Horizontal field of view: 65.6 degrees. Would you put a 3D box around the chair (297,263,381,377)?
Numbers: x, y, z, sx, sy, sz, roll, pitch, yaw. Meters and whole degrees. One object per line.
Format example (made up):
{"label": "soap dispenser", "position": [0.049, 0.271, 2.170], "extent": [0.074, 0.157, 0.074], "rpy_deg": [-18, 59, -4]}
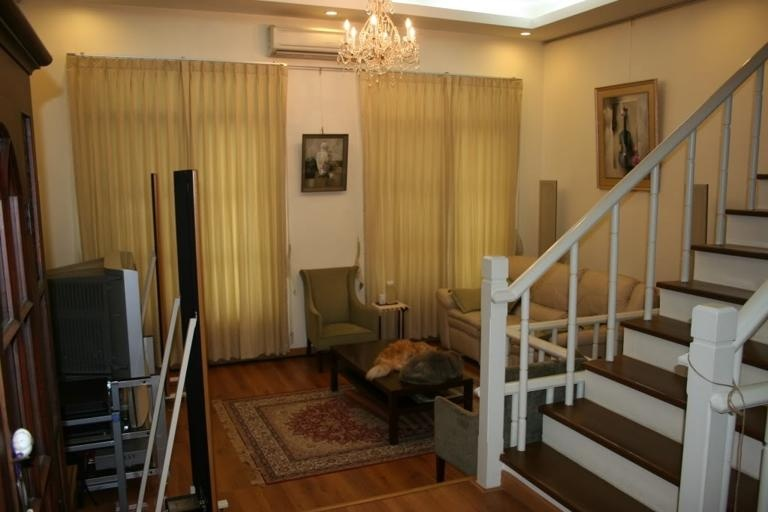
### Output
{"label": "chair", "position": [-0.605, 0.728, 7.296], "extent": [1.105, 1.554, 1.055], "rpy_deg": [-1, 0, -23]}

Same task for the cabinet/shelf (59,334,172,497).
{"label": "cabinet/shelf", "position": [-2.051, 1.173, 4.700], "extent": [0.896, 1.080, 0.779], "rpy_deg": [-6, 21, -18]}

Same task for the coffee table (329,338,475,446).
{"label": "coffee table", "position": [0.161, 1.547, 5.868], "extent": [0.727, 0.432, 1.293], "rpy_deg": [-2, 6, -27]}

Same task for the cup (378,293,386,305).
{"label": "cup", "position": [-0.022, 0.540, 7.429], "extent": [0.107, 0.130, 0.111], "rpy_deg": [2, 6, 0]}

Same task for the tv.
{"label": "tv", "position": [-2.145, 0.359, 4.504], "extent": [0.638, 1.028, 1.175], "rpy_deg": [-8, 14, -35]}

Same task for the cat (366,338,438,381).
{"label": "cat", "position": [0.132, 0.985, 5.830], "extent": [0.534, 0.203, 0.348], "rpy_deg": [-15, -1, -32]}

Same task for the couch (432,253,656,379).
{"label": "couch", "position": [1.452, 0.538, 5.242], "extent": [0.558, 0.670, 1.327], "rpy_deg": [1, 4, -19]}

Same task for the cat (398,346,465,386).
{"label": "cat", "position": [0.438, 1.039, 5.520], "extent": [0.430, 0.170, 0.312], "rpy_deg": [-10, 15, -27]}

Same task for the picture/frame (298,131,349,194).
{"label": "picture/frame", "position": [-0.766, -1.166, 7.280], "extent": [0.701, 0.874, 0.059], "rpy_deg": [-3, 9, -24]}
